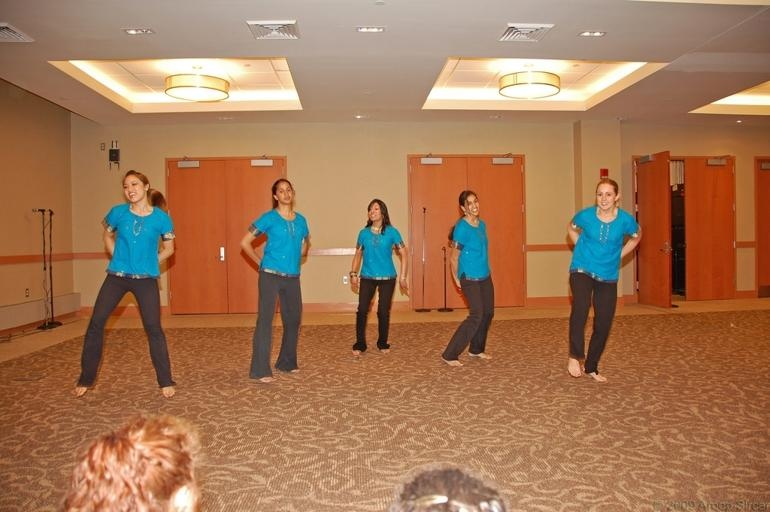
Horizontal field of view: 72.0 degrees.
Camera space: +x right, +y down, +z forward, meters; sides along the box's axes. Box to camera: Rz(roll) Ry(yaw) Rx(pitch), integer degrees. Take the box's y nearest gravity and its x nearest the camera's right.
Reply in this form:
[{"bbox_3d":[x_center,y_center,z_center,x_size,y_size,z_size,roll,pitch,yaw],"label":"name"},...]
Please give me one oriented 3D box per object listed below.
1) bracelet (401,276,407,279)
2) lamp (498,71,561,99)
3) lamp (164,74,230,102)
[{"bbox_3d":[0.295,0.301,7.644,0.058,0.042,0.058,-3,8,-12],"label":"bracelet"},{"bbox_3d":[2.595,-3.078,9.445,1.025,0.404,0.628,2,13,9],"label":"lamp"},{"bbox_3d":[-3.282,-2.971,9.284,1.020,0.410,0.649,-5,14,-21],"label":"lamp"}]
